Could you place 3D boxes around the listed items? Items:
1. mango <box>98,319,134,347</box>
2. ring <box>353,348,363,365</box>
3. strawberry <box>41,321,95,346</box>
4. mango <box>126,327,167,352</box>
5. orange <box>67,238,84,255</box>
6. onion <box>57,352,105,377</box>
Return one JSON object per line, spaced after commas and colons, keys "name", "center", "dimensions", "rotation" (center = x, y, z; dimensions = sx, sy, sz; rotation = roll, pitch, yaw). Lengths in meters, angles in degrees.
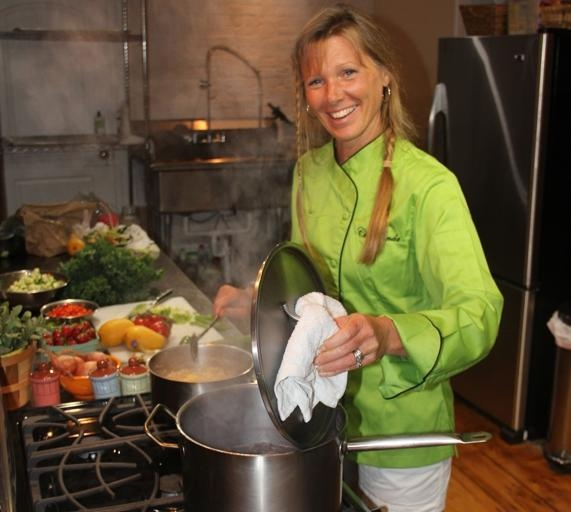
{"name": "mango", "center": [-0.502, 0.225, 1.770], "dimensions": [0.094, 0.075, 0.070], "rotation": [-17, 14, -24]}
{"name": "ring", "center": [0.105, 0.146, 0.872], "dimensions": [0.013, 0.021, 0.015], "rotation": [-4, 1, -42]}
{"name": "strawberry", "center": [-0.587, 0.199, 1.649], "dimensions": [0.067, 0.035, 0.093], "rotation": [-2, 8, 17]}
{"name": "mango", "center": [-0.408, 0.245, 1.749], "dimensions": [0.090, 0.069, 0.067], "rotation": [7, -31, -20]}
{"name": "orange", "center": [-0.741, -0.037, 2.133], "dimensions": [0.071, 0.069, 0.029], "rotation": [1, 9, 23]}
{"name": "onion", "center": [-0.508, 0.267, 1.495], "dimensions": [0.068, 0.032, 0.072], "rotation": [2, -3, 1]}
